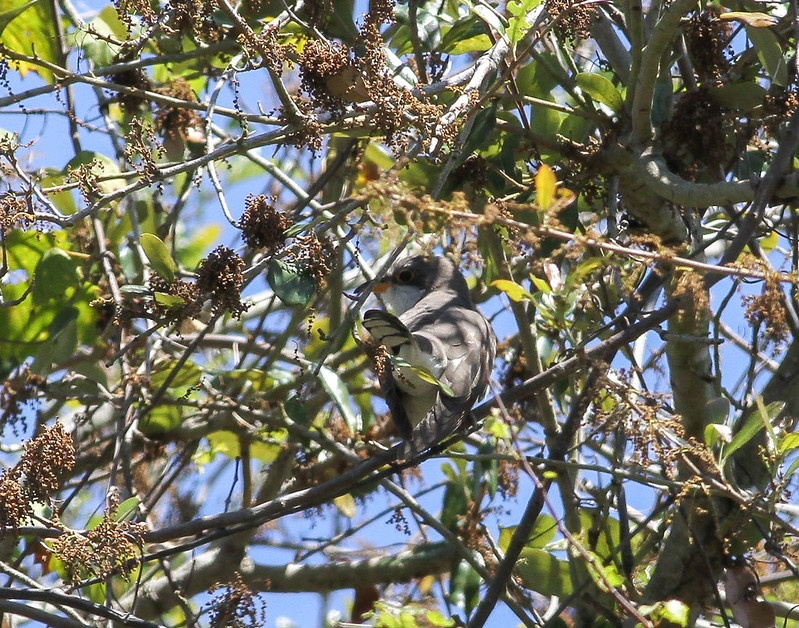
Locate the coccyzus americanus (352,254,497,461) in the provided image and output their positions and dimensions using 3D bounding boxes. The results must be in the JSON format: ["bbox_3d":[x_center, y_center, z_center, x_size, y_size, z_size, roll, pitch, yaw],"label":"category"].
[{"bbox_3d":[0.126,0.231,7.406,0.309,0.584,0.950,-25,-43,3],"label":"coccyzus americanus"}]
